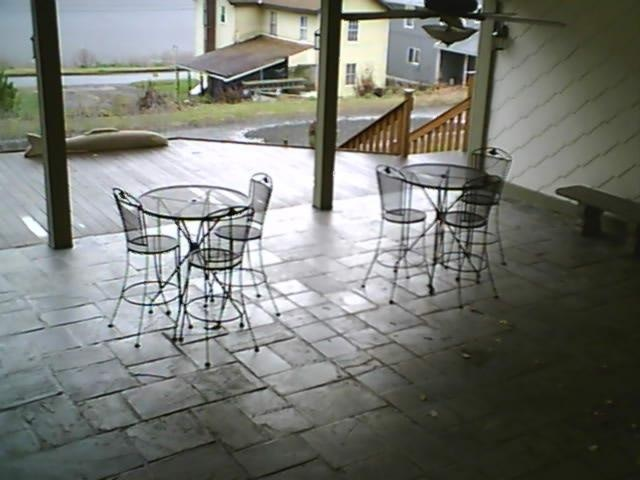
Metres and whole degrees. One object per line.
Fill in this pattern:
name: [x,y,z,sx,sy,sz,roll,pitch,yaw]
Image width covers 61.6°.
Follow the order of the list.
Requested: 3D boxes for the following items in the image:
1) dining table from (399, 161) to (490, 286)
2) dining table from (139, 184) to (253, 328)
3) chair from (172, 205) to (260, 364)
dining table: [1.439,-0.299,6.160,0.705,0.733,0.739,-18,5,-33]
dining table: [-1.180,0.185,5.124,0.979,1.131,1.081,-20,36,-39]
chair: [-0.957,0.436,4.944,0.866,1.406,0.759,-6,39,-19]
